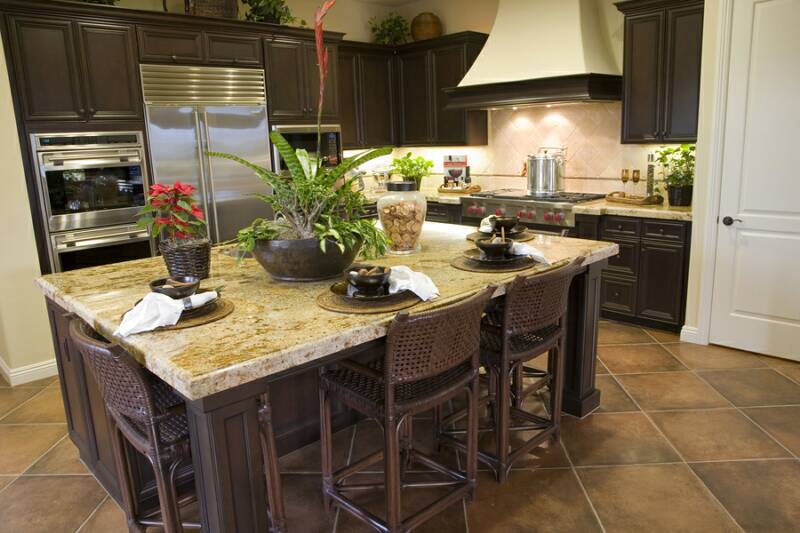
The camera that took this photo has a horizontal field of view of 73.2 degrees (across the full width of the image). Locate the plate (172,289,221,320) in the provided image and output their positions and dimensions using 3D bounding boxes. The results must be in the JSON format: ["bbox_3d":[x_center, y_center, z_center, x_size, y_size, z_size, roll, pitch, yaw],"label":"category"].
[{"bbox_3d":[-1.028,0.185,2.781,0.155,0.047,0.148,3,17,19],"label":"plate"}]

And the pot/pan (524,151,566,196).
[{"bbox_3d":[1.657,-1.022,5.977,0.542,0.509,0.474,-5,10,-19],"label":"pot/pan"}]

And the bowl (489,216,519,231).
[{"bbox_3d":[0.735,-0.309,3.828,0.139,0.052,0.131,-1,8,0],"label":"bowl"}]

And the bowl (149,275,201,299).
[{"bbox_3d":[-1.155,0.098,2.839,0.174,0.058,0.169,3,15,-1],"label":"bowl"}]

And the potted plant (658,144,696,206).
[{"bbox_3d":[2.673,-0.900,5.239,0.307,0.581,0.595,-5,16,-3],"label":"potted plant"}]

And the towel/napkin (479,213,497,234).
[{"bbox_3d":[0.631,-0.297,3.901,0.154,0.056,0.141,-3,21,11],"label":"towel/napkin"}]

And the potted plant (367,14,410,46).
[{"bbox_3d":[-0.140,-3.107,7.112,0.602,0.383,0.509,-23,35,-37],"label":"potted plant"}]

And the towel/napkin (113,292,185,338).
[{"bbox_3d":[-1.201,0.235,2.601,0.215,0.088,0.267,8,34,21],"label":"towel/napkin"}]

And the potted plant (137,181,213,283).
[{"bbox_3d":[-1.360,-0.184,3.236,0.386,0.520,0.409,2,13,18],"label":"potted plant"}]

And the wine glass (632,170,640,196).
[{"bbox_3d":[2.446,-0.889,5.589,0.077,0.225,0.154,4,18,25],"label":"wine glass"}]

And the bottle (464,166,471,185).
[{"bbox_3d":[0.878,-1.178,6.927,0.064,0.222,0.259,-1,16,10],"label":"bottle"}]

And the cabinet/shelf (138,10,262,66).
[{"bbox_3d":[-1.996,-2.214,5.297,0.391,0.450,1.359,27,31,34],"label":"cabinet/shelf"}]

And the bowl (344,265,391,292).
[{"bbox_3d":[-0.186,0.038,2.883,0.166,0.079,0.161,-1,16,0],"label":"bowl"}]

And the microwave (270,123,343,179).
[{"bbox_3d":[-0.893,-1.273,6.132,0.935,0.549,0.498,5,4,33],"label":"microwave"}]

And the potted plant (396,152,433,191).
[{"bbox_3d":[0.122,-0.928,5.608,0.255,0.200,0.321,-7,-14,44],"label":"potted plant"}]

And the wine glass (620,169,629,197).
[{"bbox_3d":[2.360,-0.903,5.661,0.093,0.239,0.222,2,18,22],"label":"wine glass"}]

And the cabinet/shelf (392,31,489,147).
[{"bbox_3d":[0.565,-2.161,6.880,0.522,1.264,1.374,-16,21,-35],"label":"cabinet/shelf"}]
